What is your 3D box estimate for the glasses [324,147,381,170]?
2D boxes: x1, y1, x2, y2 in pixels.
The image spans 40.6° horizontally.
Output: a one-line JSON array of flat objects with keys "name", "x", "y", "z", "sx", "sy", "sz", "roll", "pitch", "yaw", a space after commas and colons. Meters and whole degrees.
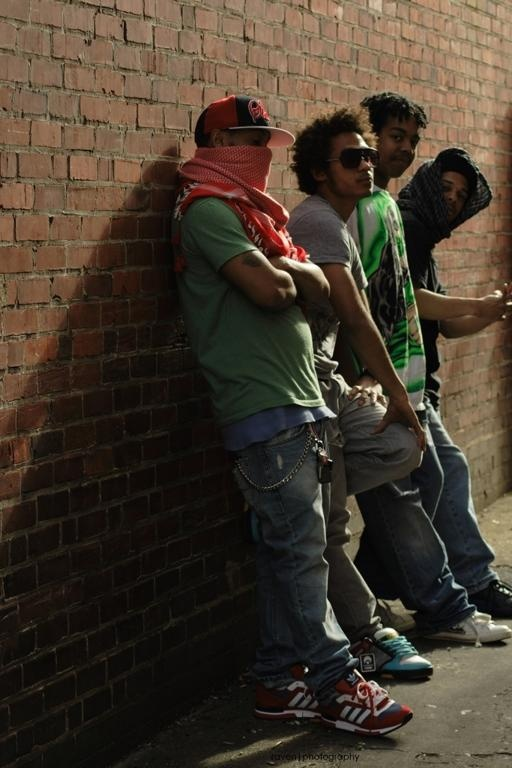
[{"name": "glasses", "x": 0.391, "y": -0.864, "z": 2.646, "sx": 0.130, "sy": 0.047, "sz": 0.126, "roll": -4, "pitch": 0, "yaw": -16}]

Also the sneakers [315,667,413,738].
[{"name": "sneakers", "x": 0.357, "y": 1.071, "z": 2.329, "sx": 0.145, "sy": 0.184, "sz": 0.372, "roll": 8, "pitch": -16, "yaw": -43}]

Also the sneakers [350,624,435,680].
[{"name": "sneakers", "x": 0.549, "y": 1.107, "z": 2.856, "sx": 0.170, "sy": 0.170, "sz": 0.438, "roll": 3, "pitch": -15, "yaw": -31}]

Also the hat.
[{"name": "hat", "x": -0.044, "y": -0.902, "z": 2.373, "sx": 0.338, "sy": 0.151, "sz": 0.197, "roll": 6, "pitch": 3, "yaw": 21}]

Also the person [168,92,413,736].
[{"name": "person", "x": 0.046, "y": 0.102, "z": 2.324, "sx": 0.591, "sy": 2.139, "sz": 0.524, "roll": 0, "pitch": -5, "yaw": -40}]

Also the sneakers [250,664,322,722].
[{"name": "sneakers", "x": 0.109, "y": 1.095, "z": 2.451, "sx": 0.301, "sy": 0.149, "sz": 0.125, "roll": 1, "pitch": -2, "yaw": 2}]
